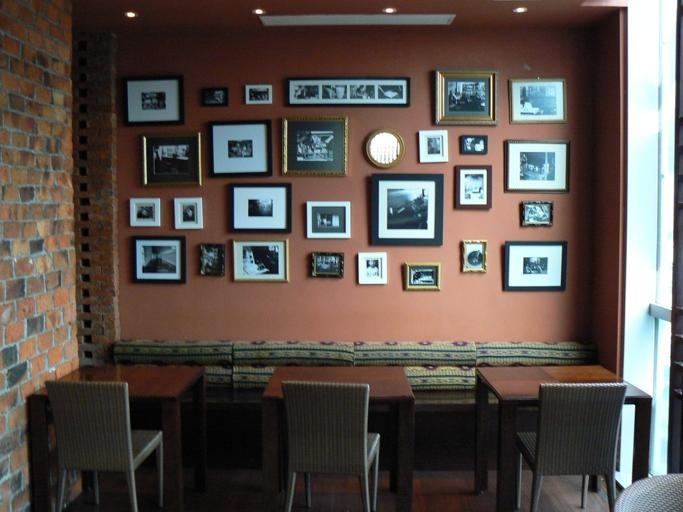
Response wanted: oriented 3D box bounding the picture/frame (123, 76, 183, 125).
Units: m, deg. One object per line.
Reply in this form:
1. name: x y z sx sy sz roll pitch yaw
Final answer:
1. picture/frame: -1.644 -1.388 5.923 0.369 0.354 0.034 -1 2 -2

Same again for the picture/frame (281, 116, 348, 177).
1. picture/frame: -0.222 -0.984 5.901 0.459 0.443 0.037 0 0 1

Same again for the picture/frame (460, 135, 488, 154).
1. picture/frame: 1.148 -0.971 5.898 0.239 0.169 0.029 1 1 -1

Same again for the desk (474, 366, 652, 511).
1. desk: 1.593 1.220 5.123 1.034 1.147 1.112 -1 -1 2

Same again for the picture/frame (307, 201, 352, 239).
1. picture/frame: -0.113 -0.333 5.935 0.284 0.277 0.029 0 0 -2

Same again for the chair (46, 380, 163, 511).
1. chair: -1.687 1.377 4.867 0.635 1.053 0.541 1 1 6

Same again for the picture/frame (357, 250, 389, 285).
1. picture/frame: 0.269 0.092 5.951 0.258 0.321 0.026 0 2 -4

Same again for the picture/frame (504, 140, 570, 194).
1. picture/frame: 1.719 -0.801 5.894 0.407 0.388 0.034 0 0 0

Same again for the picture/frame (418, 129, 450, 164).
1. picture/frame: 0.803 -0.969 5.899 0.252 0.314 0.022 0 0 0

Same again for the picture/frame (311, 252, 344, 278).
1. picture/frame: -0.122 0.070 5.953 0.193 0.172 0.016 1 1 0

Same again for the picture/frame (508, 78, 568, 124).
1. picture/frame: 1.710 -1.365 5.872 0.339 0.310 0.036 0 1 0

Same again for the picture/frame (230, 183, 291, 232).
1. picture/frame: -0.711 -0.444 5.938 0.370 0.348 0.026 -1 6 1

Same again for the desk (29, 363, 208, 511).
1. desk: -1.603 1.323 5.183 0.994 1.116 1.072 1 6 10

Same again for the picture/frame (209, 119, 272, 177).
1. picture/frame: -0.872 -0.971 5.922 0.432 0.433 0.033 -1 0 -2

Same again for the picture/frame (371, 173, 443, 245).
1. picture/frame: 0.556 -0.437 5.916 0.542 0.600 0.044 0 1 -2

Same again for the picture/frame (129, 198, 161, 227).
1. picture/frame: -1.736 -0.396 5.976 0.223 0.247 0.018 0 1 -2

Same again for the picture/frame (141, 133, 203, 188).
1. picture/frame: -1.492 -0.867 5.950 0.409 0.404 0.031 -1 3 2

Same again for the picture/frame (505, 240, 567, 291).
1. picture/frame: 1.709 0.061 5.936 0.373 0.354 0.016 0 1 -1

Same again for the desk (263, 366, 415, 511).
1. desk: 0.051 1.211 5.216 1.017 0.889 1.058 0 2 6

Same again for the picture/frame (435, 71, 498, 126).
1. picture/frame: 1.091 -1.392 5.871 0.413 0.394 0.033 0 0 1

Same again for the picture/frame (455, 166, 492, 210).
1. picture/frame: 1.154 -0.612 5.909 0.322 0.432 0.032 0 1 -2

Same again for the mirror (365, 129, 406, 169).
1. mirror: 0.371 -0.930 5.944 0.305 0.353 0.329 -1 8 4

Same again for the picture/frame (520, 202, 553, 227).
1. picture/frame: 1.711 -0.373 5.917 0.182 0.175 0.015 0 2 -2

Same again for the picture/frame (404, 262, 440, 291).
1. picture/frame: 0.703 0.171 5.953 0.209 0.191 0.018 0 4 0
